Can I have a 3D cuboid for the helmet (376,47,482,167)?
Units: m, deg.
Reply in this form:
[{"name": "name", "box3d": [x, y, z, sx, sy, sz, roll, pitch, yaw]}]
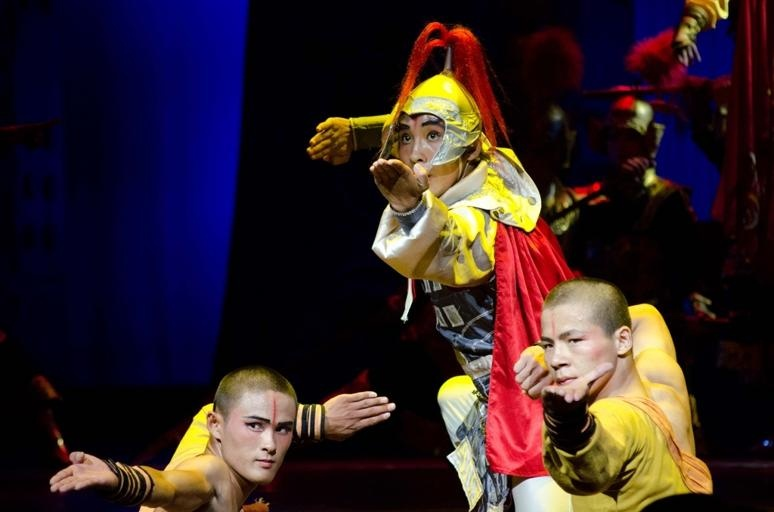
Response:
[{"name": "helmet", "box3d": [0.311, -0.861, 4.840, 0.484, 0.680, 0.504, 17, 16, 42]}]
